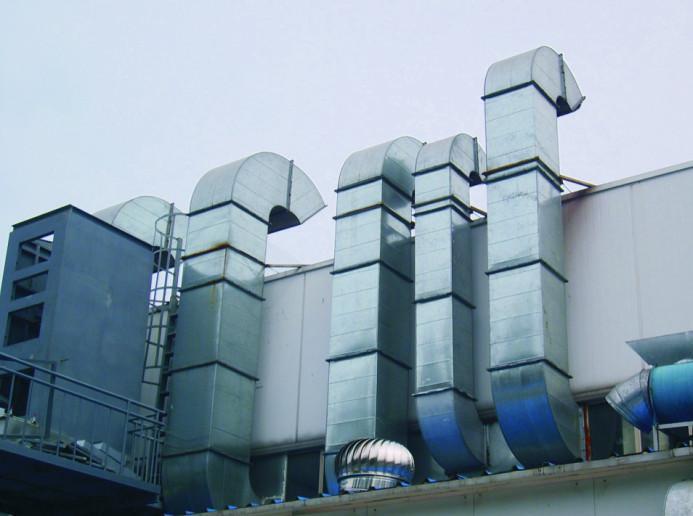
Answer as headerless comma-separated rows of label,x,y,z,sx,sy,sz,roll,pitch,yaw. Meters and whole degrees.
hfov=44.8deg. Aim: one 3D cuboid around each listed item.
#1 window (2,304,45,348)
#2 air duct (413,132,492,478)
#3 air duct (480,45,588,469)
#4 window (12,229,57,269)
window,-12.155,2.492,31.301,1.580,1.153,0.171,1,-8,-45
air duct,3.501,1.102,28.195,2.462,11.653,1.939,-25,-34,38
air duct,5.875,-0.598,26.669,3.588,13.533,2.516,-16,-29,25
window,-12.043,-0.381,32.097,1.383,1.318,0.353,1,-9,44
